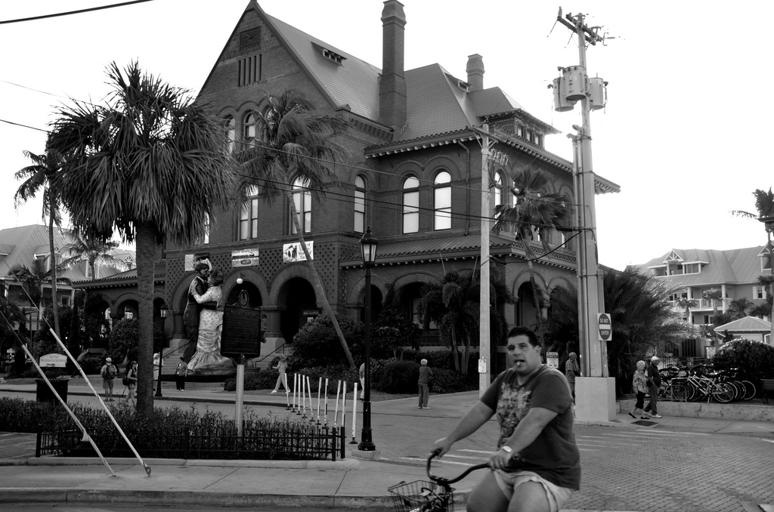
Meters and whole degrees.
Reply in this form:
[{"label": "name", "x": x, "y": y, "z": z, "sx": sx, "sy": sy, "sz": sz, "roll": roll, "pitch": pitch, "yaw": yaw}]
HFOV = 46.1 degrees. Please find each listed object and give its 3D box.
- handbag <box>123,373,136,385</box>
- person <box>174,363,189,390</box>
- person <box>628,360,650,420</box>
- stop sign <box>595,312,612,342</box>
[{"label": "handbag", "x": -10.402, "y": 5.057, "z": 36.865, "sx": 0.381, "sy": 0.558, "sz": 0.491, "roll": 11, "pitch": -6, "yaw": -28}, {"label": "person", "x": -9.836, "y": 5.735, "z": 43.327, "sx": 0.418, "sy": 1.497, "sz": 2.233, "roll": 2, "pitch": -10, "yaw": -14}, {"label": "person", "x": 9.048, "y": 4.814, "z": 32.684, "sx": 0.689, "sy": 2.078, "sz": 1.482, "roll": -3, "pitch": -9, "yaw": 15}, {"label": "stop sign", "x": 7.606, "y": 2.499, "z": 31.746, "sx": 0.368, "sy": 1.004, "sz": 0.554, "roll": -6, "pitch": -10, "yaw": 35}]
